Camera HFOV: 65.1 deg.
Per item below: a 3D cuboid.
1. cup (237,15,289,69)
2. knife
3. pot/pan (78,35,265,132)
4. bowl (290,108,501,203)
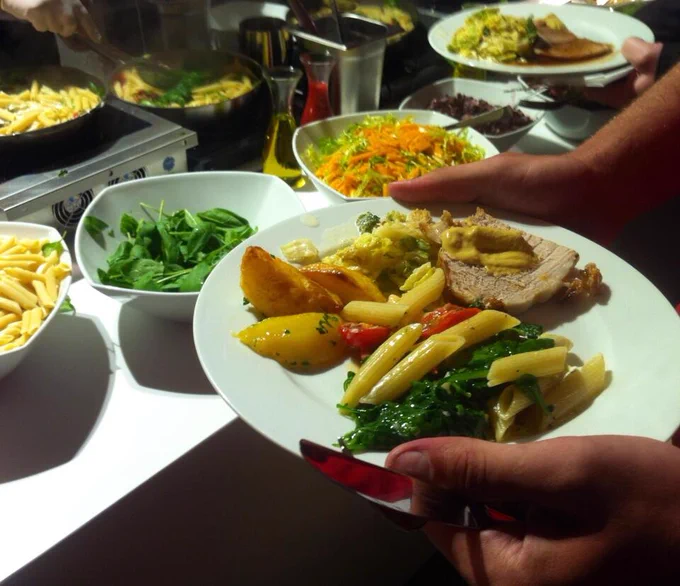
[{"bbox_3d":[-0.249,-0.851,1.806,0.239,0.154,0.162,-14,38,-19],"label":"cup"},{"bbox_3d":[0.116,0.305,0.784,0.034,0.494,0.066,-36,42,33],"label":"knife"},{"bbox_3d":[-0.509,-0.673,1.653,0.526,0.115,0.297,26,45,21],"label":"pot/pan"},{"bbox_3d":[0.073,-0.511,1.658,0.523,0.123,0.383,-20,42,-26],"label":"bowl"}]
